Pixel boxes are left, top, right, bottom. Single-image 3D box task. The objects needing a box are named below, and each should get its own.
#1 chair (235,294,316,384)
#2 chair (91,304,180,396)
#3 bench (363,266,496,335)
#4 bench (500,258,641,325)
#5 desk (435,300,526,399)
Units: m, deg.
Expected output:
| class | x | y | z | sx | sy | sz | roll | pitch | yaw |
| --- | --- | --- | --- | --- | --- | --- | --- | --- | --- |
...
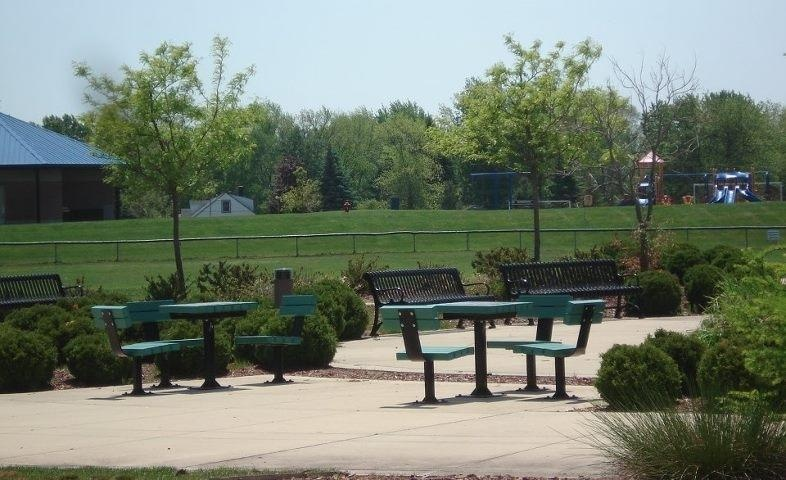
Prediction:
| class | x | y | z | sx | sy | sz | roll | pitch | yaw |
| --- | --- | --- | --- | --- | --- | --- | --- | --- | --- |
| chair | -4.878 | 3.455 | 49.010 | 2.666 | 3.692 | 2.941 | -4 | -7 | 42 |
| chair | -8.756 | 3.840 | 48.424 | 2.605 | 3.020 | 1.993 | 1 | -3 | -42 |
| bench | 0.901 | 3.054 | 53.270 | 5.035 | 2.288 | 2.370 | 1 | -3 | -41 |
| bench | 6.996 | 2.096 | 54.773 | 5.775 | 2.335 | 1.849 | -2 | 4 | -32 |
| desk | 2.902 | 3.859 | 47.399 | 3.221 | 3.185 | 2.472 | -1 | -4 | 3 |
